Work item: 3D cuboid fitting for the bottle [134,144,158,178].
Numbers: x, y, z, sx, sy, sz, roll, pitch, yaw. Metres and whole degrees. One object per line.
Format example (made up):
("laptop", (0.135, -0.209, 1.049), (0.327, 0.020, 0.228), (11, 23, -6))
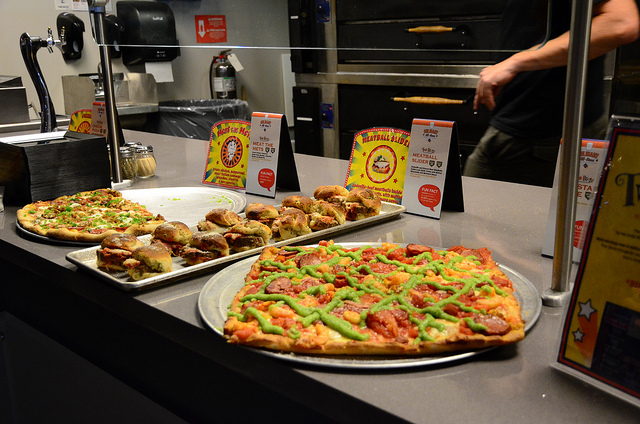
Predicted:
("bottle", (-0.767, -0.218, 1.780), (0.100, 0.133, 0.098), (-4, 14, 1))

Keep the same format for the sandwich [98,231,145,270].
("sandwich", (-0.473, 0.090, 1.003), (0.123, 0.069, 0.112), (7, 7, -20))

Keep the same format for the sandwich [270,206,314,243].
("sandwich", (-0.063, 0.030, 1.064), (0.088, 0.032, 0.096), (-16, 35, -18))

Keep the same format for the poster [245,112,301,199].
("poster", (-0.171, -0.209, 1.460), (0.184, 0.278, 0.137), (18, 27, 37))

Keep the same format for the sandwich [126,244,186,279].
("sandwich", (-0.383, 0.104, 0.958), (0.102, 0.041, 0.128), (11, 15, 18))

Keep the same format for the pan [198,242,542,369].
("pan", (0.018, 0.125, 0.807), (0.503, 0.163, 0.363), (-7, 10, -28))

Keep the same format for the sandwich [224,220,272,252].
("sandwich", (-0.180, 0.057, 1.060), (0.129, 0.075, 0.109), (-5, 6, -13))

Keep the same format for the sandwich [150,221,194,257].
("sandwich", (-0.370, 0.061, 1.024), (0.090, 0.051, 0.088), (1, 23, -11))

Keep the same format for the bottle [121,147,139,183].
("bottle", (-0.795, -0.200, 1.725), (0.062, 0.127, 0.077), (-3, 18, -11))

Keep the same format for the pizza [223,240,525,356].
("pizza", (0.108, 0.149, 0.822), (0.543, 0.080, 0.343), (1, 17, 2))

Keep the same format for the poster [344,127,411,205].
("poster", (0.183, -0.134, 1.271), (0.255, 0.270, 0.015), (14, 7, 30))

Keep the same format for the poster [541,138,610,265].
("poster", (0.543, 0.004, 0.921), (0.190, 0.328, 0.092), (-9, 16, -42))

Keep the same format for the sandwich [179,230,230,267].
("sandwich", (-0.283, 0.084, 1.005), (0.123, 0.068, 0.121), (7, 13, -2))

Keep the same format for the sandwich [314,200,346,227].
("sandwich", (0.030, 0.000, 1.120), (0.061, 0.028, 0.078), (9, 14, -6))
